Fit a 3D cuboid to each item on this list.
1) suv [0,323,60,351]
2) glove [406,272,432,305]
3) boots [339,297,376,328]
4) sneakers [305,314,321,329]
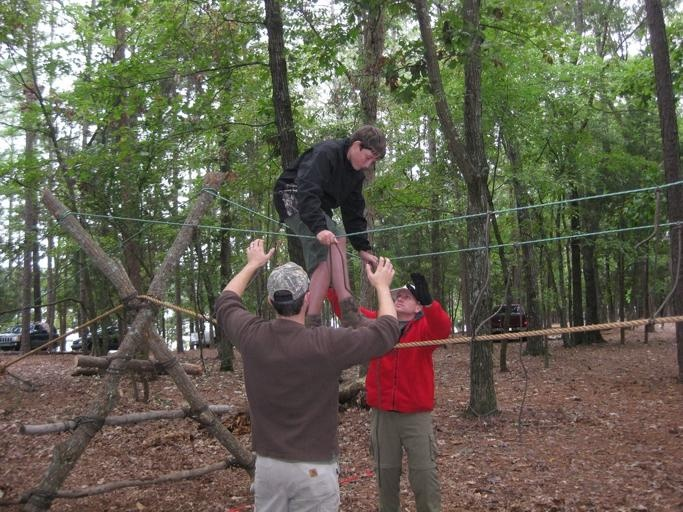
[{"bbox_3d":[-12.146,3.086,26.271,1.803,0.840,3.201,-2,-3,-32],"label":"suv"},{"bbox_3d":[1.159,0.486,10.075,0.351,0.480,0.405,-3,-1,5],"label":"glove"},{"bbox_3d":[0.233,0.918,9.710,0.493,0.341,0.515,4,28,6],"label":"boots"},{"bbox_3d":[-0.393,0.906,9.459,0.150,0.170,0.159,2,-10,-4],"label":"sneakers"}]
